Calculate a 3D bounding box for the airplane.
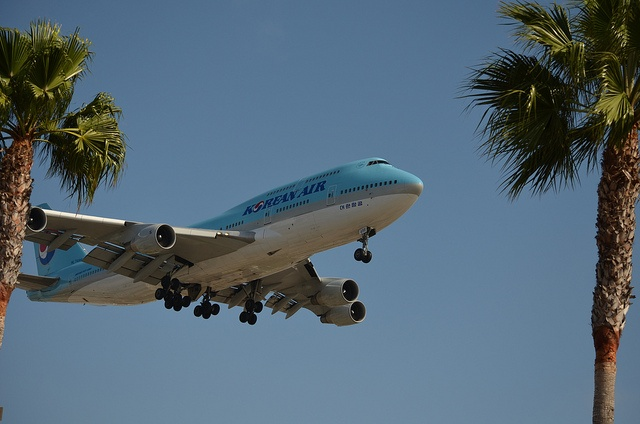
[{"bbox_3d":[-3.849,1.342,39.690,14.033,4.036,10.850,7,-25,4],"label":"airplane"}]
